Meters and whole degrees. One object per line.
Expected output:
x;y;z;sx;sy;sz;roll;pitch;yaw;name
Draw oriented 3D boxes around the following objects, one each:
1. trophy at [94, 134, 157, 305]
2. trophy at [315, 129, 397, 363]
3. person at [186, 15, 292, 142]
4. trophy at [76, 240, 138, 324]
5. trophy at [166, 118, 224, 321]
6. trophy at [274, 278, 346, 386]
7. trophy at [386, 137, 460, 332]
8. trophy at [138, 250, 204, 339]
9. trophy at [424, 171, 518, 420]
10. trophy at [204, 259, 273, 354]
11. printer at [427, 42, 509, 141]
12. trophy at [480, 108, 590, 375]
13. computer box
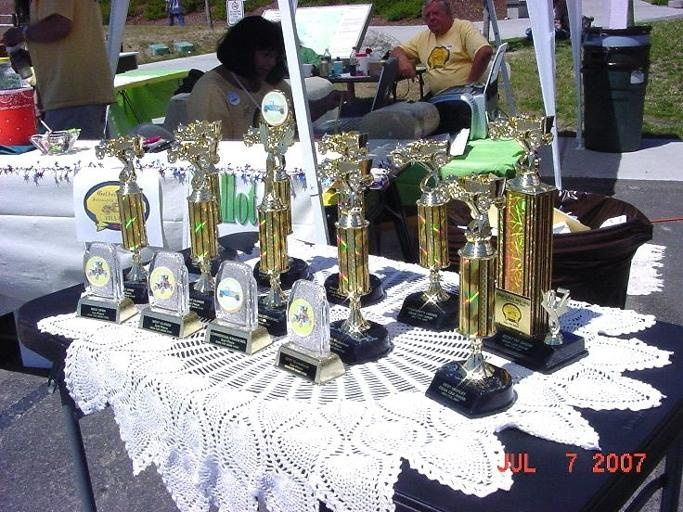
-0.706;-0.051;1.879;0.168;0.640;0.175;6;31;9;trophy
0.020;-0.010;1.560;0.198;0.645;0.213;16;29;31;trophy
-0.613;-1.088;3.619;0.433;0.778;0.740;17;24;32;person
-0.716;0.093;1.812;0.145;0.272;0.152;13;23;28;trophy
-0.422;-0.130;1.773;0.170;0.653;0.146;19;30;33;trophy
-0.088;0.209;1.513;0.190;0.246;0.104;17;22;41;trophy
0.269;-0.025;1.708;0.168;0.615;0.160;13;22;29;trophy
-0.490;0.120;1.737;0.148;0.257;0.136;10;25;20;trophy
0.306;0.093;1.340;0.192;0.531;0.208;-9;15;-24;trophy
-0.296;0.152;1.632;0.188;0.247;0.120;12;19;31;trophy
1.138;-1.460;5.107;0.570;0.859;1.463;1;11;14;printer
0.478;-0.040;1.500;0.196;0.613;0.303;-12;17;-27;trophy
3.122;-1.903;6.653;0.681;1.403;0.460;3;12;23;computer box
